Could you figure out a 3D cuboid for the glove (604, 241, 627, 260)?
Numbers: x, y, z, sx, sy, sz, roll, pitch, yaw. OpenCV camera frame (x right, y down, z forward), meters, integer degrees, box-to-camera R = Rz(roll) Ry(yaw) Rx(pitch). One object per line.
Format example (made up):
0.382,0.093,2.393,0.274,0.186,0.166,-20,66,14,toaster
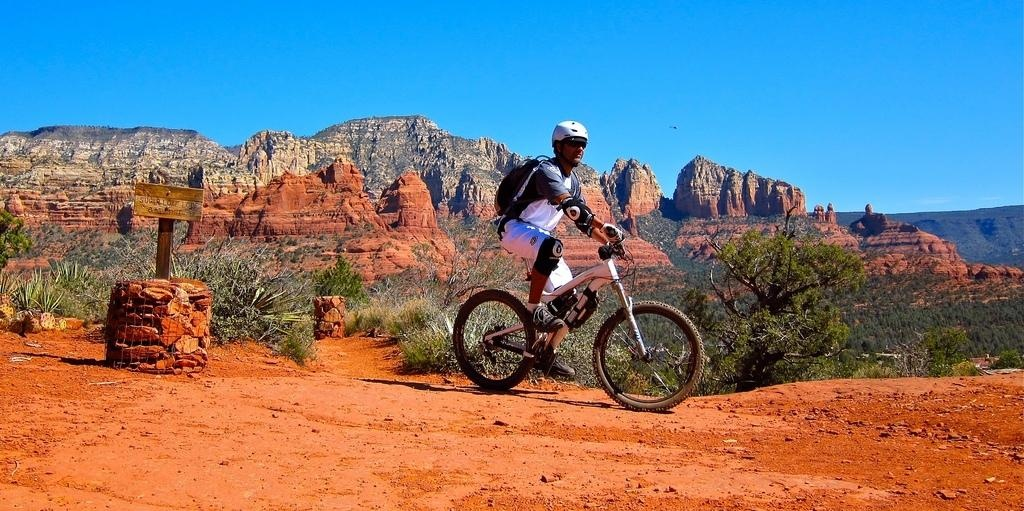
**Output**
2.232,-0.114,16.613,0.323,0.142,0.402,2,-24,-9,glove

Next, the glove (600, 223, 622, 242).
2.121,-0.511,16.568,0.439,0.403,0.219,-1,-6,6,glove
